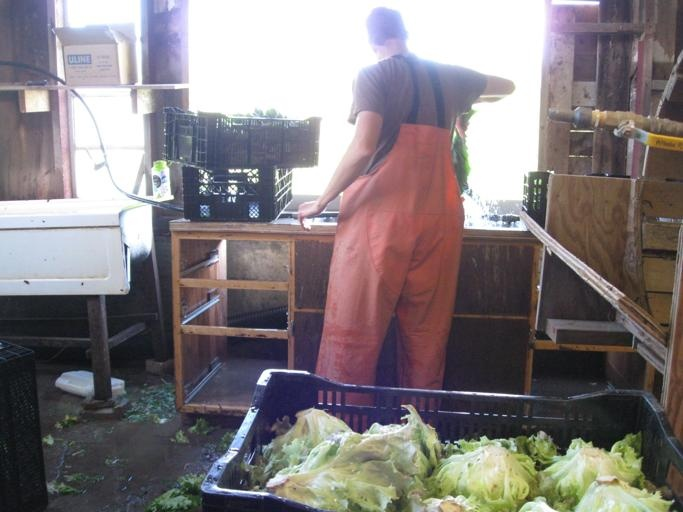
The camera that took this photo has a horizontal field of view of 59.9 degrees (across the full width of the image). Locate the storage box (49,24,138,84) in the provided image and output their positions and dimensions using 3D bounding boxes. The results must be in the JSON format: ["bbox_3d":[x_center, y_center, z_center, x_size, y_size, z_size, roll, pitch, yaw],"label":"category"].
[{"bbox_3d":[-1.685,-1.398,4.106,0.498,0.419,0.503,-8,17,-19],"label":"storage box"}]

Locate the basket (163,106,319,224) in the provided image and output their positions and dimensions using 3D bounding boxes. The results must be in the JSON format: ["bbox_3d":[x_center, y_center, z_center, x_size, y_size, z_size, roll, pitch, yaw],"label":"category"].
[{"bbox_3d":[-0.599,-0.532,3.563,0.551,0.529,0.796,1,5,1],"label":"basket"}]
